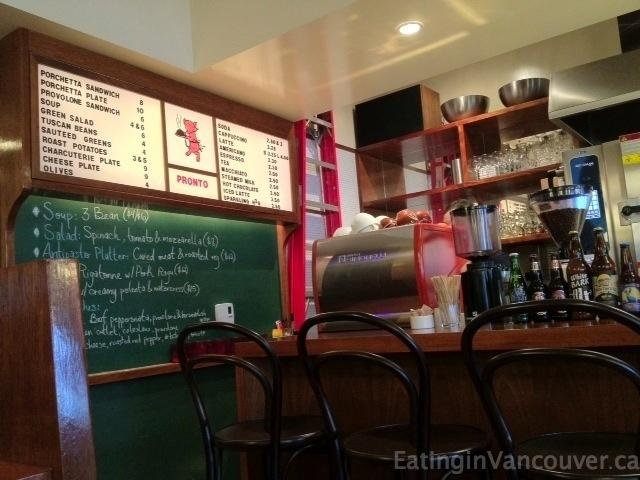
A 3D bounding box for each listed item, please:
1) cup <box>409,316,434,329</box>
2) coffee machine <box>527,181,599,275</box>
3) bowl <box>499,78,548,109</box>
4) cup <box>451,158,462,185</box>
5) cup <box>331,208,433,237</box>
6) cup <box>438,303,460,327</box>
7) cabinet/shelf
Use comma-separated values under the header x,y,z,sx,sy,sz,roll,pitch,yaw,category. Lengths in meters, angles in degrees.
x,y,z,sx,sy,sz,roll,pitch,yaw,category
0.442,0.340,2.115,0.072,0.039,0.070,1,-3,0,cup
0.923,-0.074,2.070,0.306,0.302,0.289,-3,-3,-3,coffee machine
1.737,-1.248,4.229,0.296,0.123,0.282,-2,-6,0,bowl
1.279,-0.623,4.601,0.066,0.225,0.117,-4,-2,-26,cup
0.364,-0.099,2.702,0.339,0.098,0.239,-11,-2,23,cup
0.532,0.308,2.041,0.089,0.091,0.090,0,-2,0,cup
1.241,-0.596,3.954,1.491,0.740,0.310,-14,-26,33,cabinet/shelf
